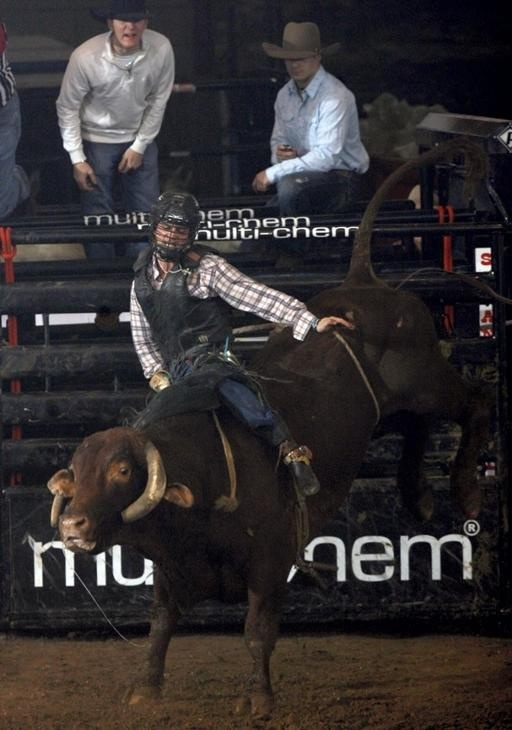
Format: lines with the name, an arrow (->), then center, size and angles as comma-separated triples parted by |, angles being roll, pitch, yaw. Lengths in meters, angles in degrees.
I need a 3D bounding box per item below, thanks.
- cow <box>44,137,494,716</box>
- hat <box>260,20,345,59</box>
cow -> 0.084, 0.230, 4.595 | 0.692, 2.055, 1.928 | 8, 14, 38
hat -> 0.175, -1.257, 4.913 | 0.181, 0.068, 0.192 | 0, 3, 21
